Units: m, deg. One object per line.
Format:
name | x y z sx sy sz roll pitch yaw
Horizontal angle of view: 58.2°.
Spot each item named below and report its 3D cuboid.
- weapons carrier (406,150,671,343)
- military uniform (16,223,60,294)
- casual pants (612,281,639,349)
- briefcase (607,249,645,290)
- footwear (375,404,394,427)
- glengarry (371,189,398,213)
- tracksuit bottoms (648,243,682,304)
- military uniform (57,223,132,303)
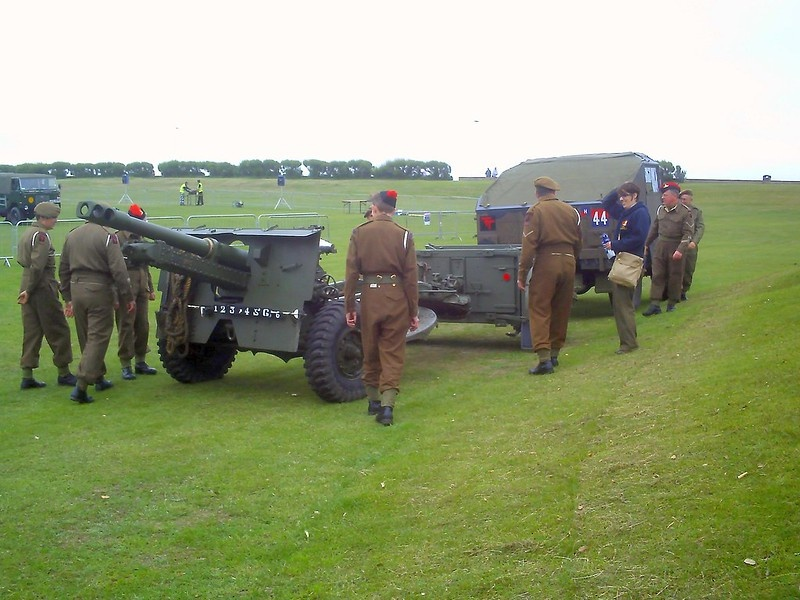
weapons carrier | 2.004 -0.916 11.014 2.411 2.520 4.161 5 10 37
military uniform | -4.087 -0.444 8.097 0.339 0.850 0.595 -1 7 -39
casual pants | 2.578 0.196 8.188 0.258 0.732 0.382 0 12 11
briefcase | 2.647 -0.364 8.404 0.388 0.432 0.253 16 -17 20
footwear | -0.136 1.098 6.765 0.093 0.118 0.235 3 6 1
glengarry | -0.154 -0.971 7.118 0.176 0.204 0.267 -4 27 -21
tracksuit bottoms | 4.024 -0.448 10.758 0.480 1.097 0.350 4 37 22
military uniform | -3.214 -0.360 7.598 0.801 0.990 0.352 3 9 10
